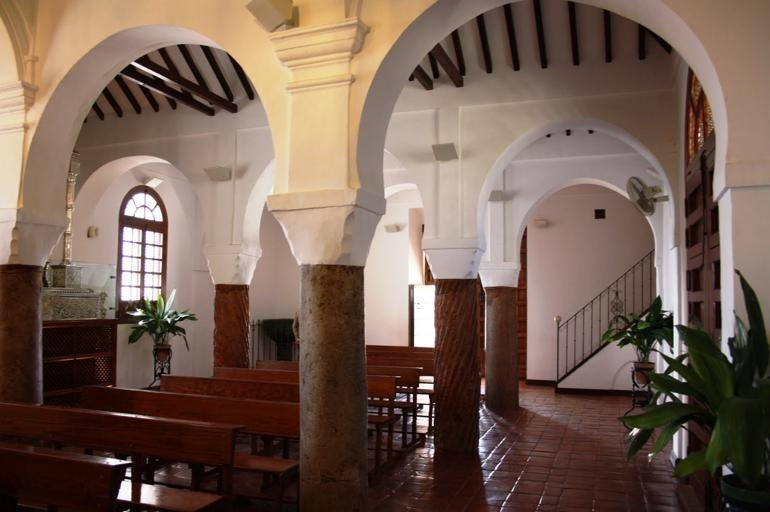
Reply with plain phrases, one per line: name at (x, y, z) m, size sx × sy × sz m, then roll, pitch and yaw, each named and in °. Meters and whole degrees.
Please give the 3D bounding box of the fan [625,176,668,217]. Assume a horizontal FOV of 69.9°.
fan at (3.917, -0.906, 8.215) m, size 0.489 × 0.566 × 1.235 m, roll 0°, pitch -2°, yaw 26°

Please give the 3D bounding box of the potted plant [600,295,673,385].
potted plant at (3.884, 1.328, 8.272) m, size 0.885 × 1.053 × 0.994 m, roll -5°, pitch -8°, yaw 34°

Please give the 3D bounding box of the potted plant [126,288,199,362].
potted plant at (-4.798, 1.549, 11.934) m, size 1.315 × 1.112 × 1.300 m, roll 10°, pitch -13°, yaw -42°

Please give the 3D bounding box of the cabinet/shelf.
cabinet/shelf at (-5.382, 1.832, 9.586) m, size 0.590 × 1.545 × 1.607 m, roll -2°, pitch -3°, yaw 24°
